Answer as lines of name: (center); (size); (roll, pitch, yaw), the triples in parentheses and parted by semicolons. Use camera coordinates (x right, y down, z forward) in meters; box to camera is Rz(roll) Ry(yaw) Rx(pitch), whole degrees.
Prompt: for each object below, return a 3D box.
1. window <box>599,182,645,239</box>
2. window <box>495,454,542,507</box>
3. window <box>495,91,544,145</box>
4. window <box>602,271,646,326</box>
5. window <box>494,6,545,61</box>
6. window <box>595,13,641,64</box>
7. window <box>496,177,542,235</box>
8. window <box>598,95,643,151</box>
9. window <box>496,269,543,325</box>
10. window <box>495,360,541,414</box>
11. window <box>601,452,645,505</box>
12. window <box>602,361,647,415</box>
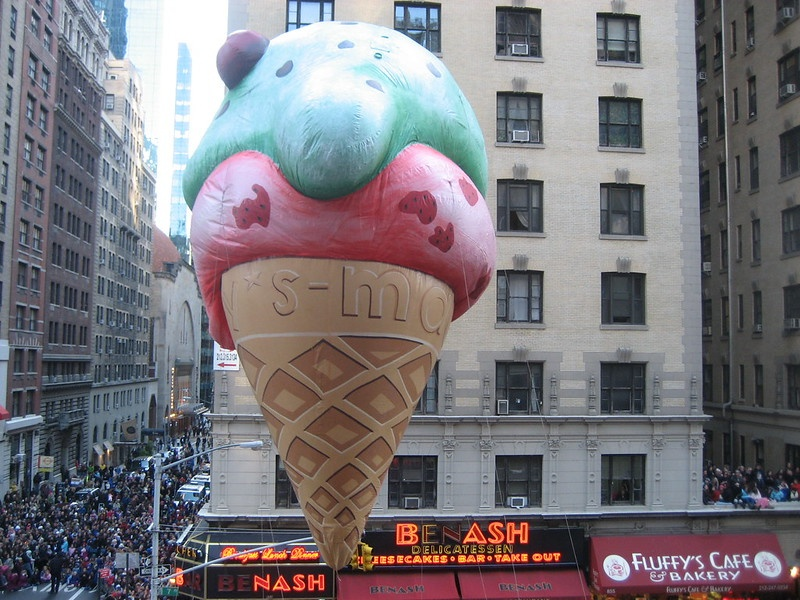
window: (10.897, -4.449, 61.285); (2.245, 3.191, 0.230); (1, -5, -9)
window: (5.778, 8.724, 60.080); (2.409, 3.082, 0.253); (-1, 20, 2)
window: (5.831, -8.990, 61.052); (2.195, 2.883, 0.186); (0, -7, -8)
window: (10.979, -0.076, 61.084); (2.134, 3.010, 0.135); (1, -6, -8)
window: (5.867, -13.187, 61.215); (2.270, 2.752, 0.247); (1, -13, -10)
window: (10.770, -13.096, 61.670); (2.106, 2.386, 0.262); (1, -5, -13)
window: (5.783, -4.605, 60.843); (2.392, 3.217, 0.215); (1, -6, -8)
window: (10.848, -8.789, 61.455); (2.242, 2.948, 0.132); (2, -7, -9)
window: (5.887, -0.189, 60.717); (2.374, 3.000, 0.386); (0, -29, 6)
window: (5.831, 4.262, 60.457); (2.318, 3.152, 0.224); (0, 28, 5)
window: (10.793, 8.641, 60.426); (2.362, 3.066, 0.287); (-2, 24, 7)
window: (10.917, 4.306, 60.868); (2.257, 3.141, 0.357); (0, 37, 9)
